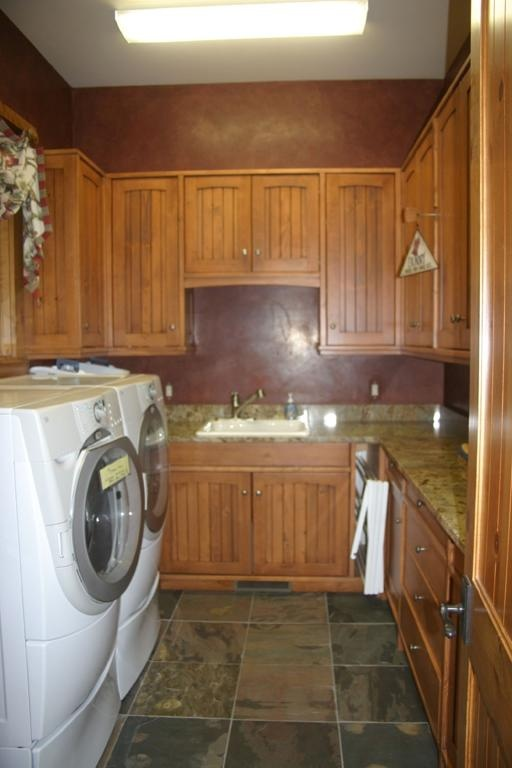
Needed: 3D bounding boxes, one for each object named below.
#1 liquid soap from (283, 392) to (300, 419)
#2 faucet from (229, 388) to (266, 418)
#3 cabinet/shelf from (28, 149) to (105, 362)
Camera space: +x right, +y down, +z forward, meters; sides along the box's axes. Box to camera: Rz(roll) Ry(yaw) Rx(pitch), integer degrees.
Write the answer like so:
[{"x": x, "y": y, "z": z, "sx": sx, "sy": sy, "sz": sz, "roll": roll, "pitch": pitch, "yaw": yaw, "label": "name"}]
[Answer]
[{"x": 0.201, "y": 0.118, "z": 3.196, "sx": 0.082, "sy": 0.143, "sz": 0.118, "roll": 0, "pitch": 4, "yaw": 5, "label": "liquid soap"}, {"x": -0.048, "y": 0.108, "z": 3.146, "sx": 0.196, "sy": 0.172, "sz": 0.250, "roll": -1, "pitch": 5, "yaw": -3, "label": "faucet"}, {"x": -0.868, "y": -0.607, "z": 2.693, "sx": 0.231, "sy": 0.940, "sz": 0.461, "roll": 2, "pitch": 5, "yaw": 31, "label": "cabinet/shelf"}]
